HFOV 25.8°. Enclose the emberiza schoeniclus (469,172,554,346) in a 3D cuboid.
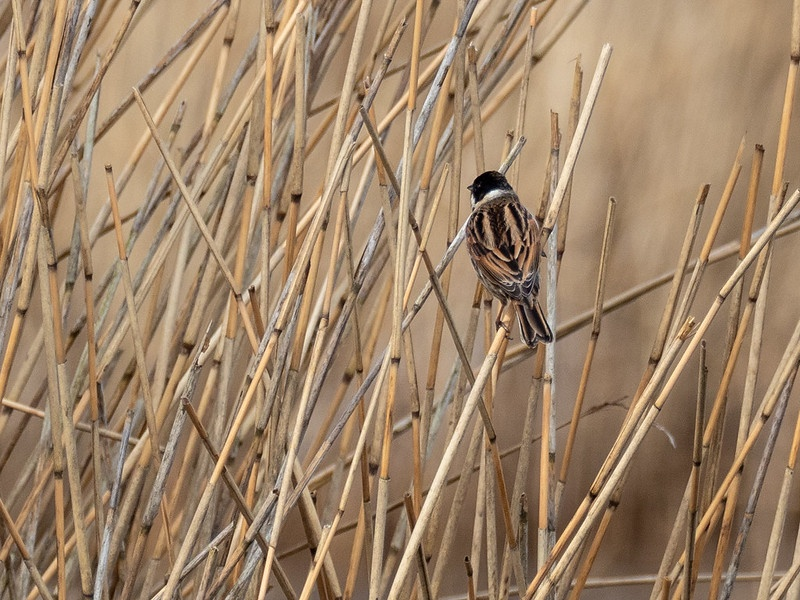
[{"bbox_3d":[0.488,-0.188,7.505,0.302,0.665,0.967,-8,19,-7],"label":"emberiza schoeniclus"}]
